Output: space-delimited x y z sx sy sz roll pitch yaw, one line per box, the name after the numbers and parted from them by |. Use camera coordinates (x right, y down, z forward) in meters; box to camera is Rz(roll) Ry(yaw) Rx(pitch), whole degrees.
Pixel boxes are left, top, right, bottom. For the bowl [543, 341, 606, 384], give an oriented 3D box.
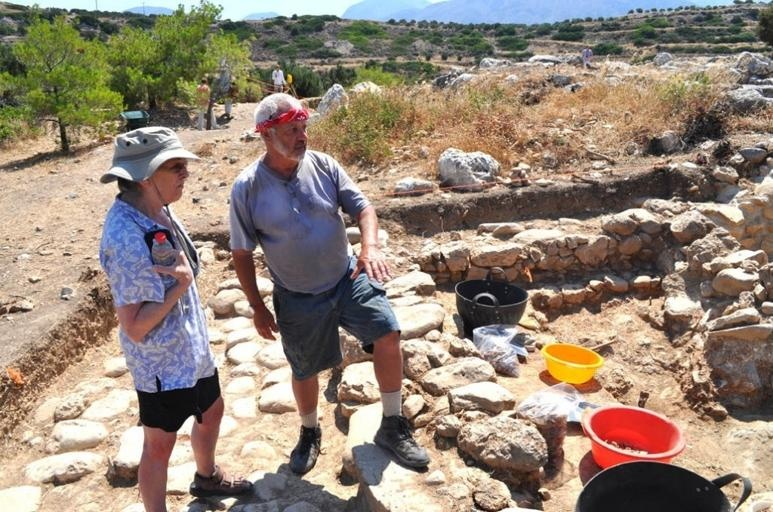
2.119 1.223 7.928 0.568 0.199 0.531 -1 20 0 | bowl

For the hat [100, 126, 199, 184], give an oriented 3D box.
-2.128 -0.836 6.124 0.667 0.274 0.533 -13 13 -24 | hat

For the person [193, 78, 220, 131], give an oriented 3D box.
-4.420 -3.693 16.739 0.451 1.213 1.344 -6 22 -13 | person

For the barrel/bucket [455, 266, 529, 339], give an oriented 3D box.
1.299 0.592 8.550 0.812 0.579 0.842 0 23 0 | barrel/bucket

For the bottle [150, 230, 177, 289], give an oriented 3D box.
-1.953 0.031 6.041 0.191 0.474 0.239 -15 27 -32 | bottle

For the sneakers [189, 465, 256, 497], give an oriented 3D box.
-1.609 2.166 6.777 0.618 0.252 0.246 0 7 -12 | sneakers
